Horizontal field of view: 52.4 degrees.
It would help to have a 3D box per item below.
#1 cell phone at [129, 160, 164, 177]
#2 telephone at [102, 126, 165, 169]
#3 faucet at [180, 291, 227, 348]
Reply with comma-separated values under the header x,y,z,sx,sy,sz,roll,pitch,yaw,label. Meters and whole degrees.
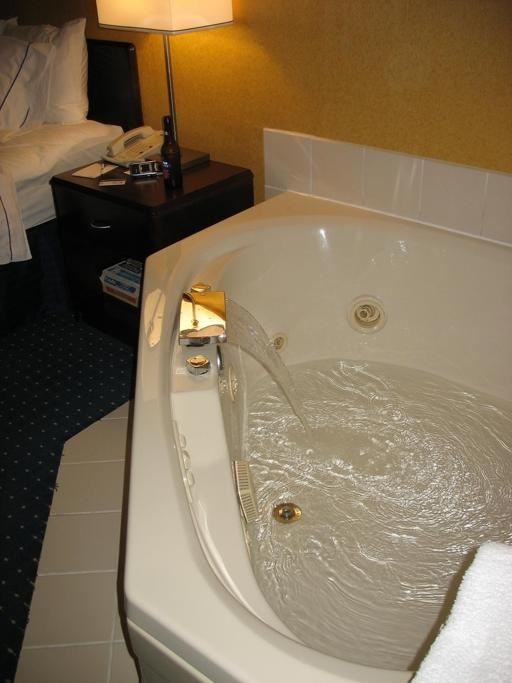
x,y,z,sx,sy,sz,roll,pitch,yaw,label
-0.395,-0.626,1.890,0.121,0.076,0.038,-4,-10,-7,cell phone
-0.456,-0.745,2.011,0.172,0.071,0.231,32,59,33,telephone
-0.102,-0.042,1.001,0.086,0.064,0.126,-1,31,-3,faucet
